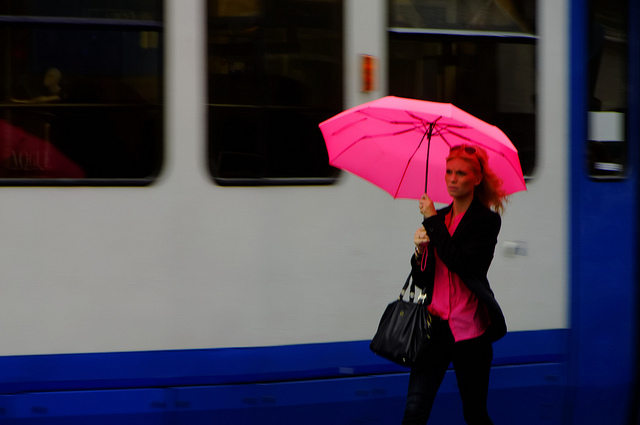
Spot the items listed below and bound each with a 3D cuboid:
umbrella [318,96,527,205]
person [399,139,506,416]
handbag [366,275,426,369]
[{"bbox_3d":[0.579,-0.340,4.748,1.165,0.629,0.352,1,8,-2],"label":"umbrella"},{"bbox_3d":[0.794,0.410,4.785,0.555,1.613,0.225,2,8,8],"label":"person"},{"bbox_3d":[0.508,0.603,4.835,0.325,0.595,0.152,8,-18,38],"label":"handbag"}]
